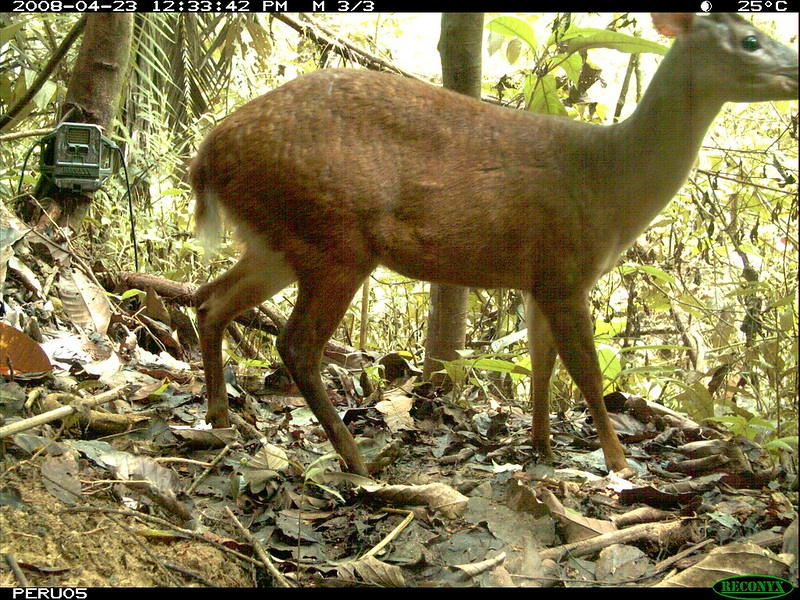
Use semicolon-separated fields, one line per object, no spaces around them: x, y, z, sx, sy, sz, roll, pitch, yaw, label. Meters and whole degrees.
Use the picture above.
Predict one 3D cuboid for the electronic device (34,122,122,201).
-1.810;-0.812;3.788;0.459;0.343;0.221;5;6;4;electronic device
